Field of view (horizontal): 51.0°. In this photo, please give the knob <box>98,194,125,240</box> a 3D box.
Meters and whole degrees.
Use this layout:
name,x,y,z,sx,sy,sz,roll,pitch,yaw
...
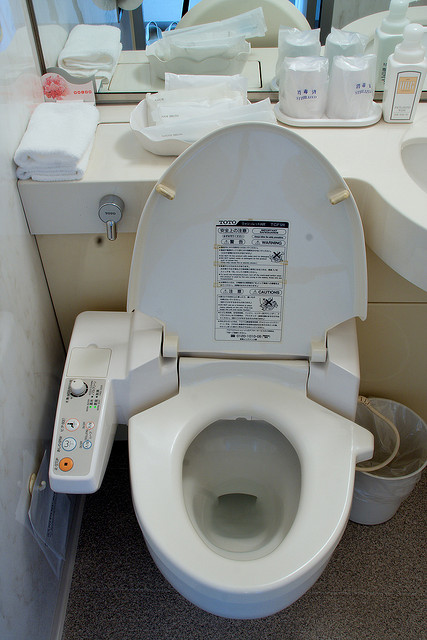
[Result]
name,x,y,z,sx,sy,sz,roll,pitch,yaw
knob,-0.181,-0.177,0.787,0.040,0.073,0.029,-2,38,-12

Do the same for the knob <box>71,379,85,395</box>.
name,x,y,z,sx,sy,sz,roll,pitch,yaw
knob,-0.236,0.112,0.771,0.022,0.021,0.023,-36,84,-17

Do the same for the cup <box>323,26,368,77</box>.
name,x,y,z,sx,sy,sz,roll,pitch,yaw
cup,0.249,-0.502,0.839,0.072,0.088,0.067,13,36,-10

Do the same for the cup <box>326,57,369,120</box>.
name,x,y,z,sx,sy,sz,roll,pitch,yaw
cup,0.256,-0.429,0.837,0.078,0.107,0.051,4,44,13

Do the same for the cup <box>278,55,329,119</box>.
name,x,y,z,sx,sy,sz,roll,pitch,yaw
cup,0.176,-0.432,0.871,0.090,0.066,0.133,2,84,-2
